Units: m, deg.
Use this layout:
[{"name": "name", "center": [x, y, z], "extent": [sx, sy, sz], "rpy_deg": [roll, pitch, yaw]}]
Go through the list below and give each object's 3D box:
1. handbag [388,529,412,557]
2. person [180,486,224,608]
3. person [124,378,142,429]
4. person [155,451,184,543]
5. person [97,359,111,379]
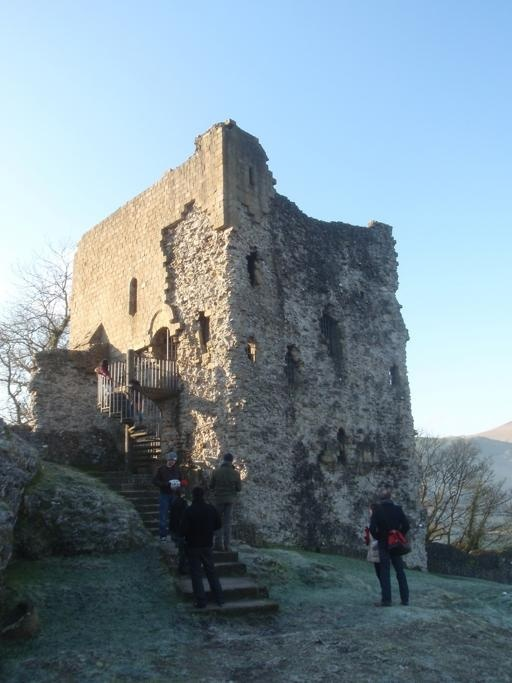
[{"name": "handbag", "center": [1.948, 2.735, 9.464], "extent": [0.211, 0.342, 0.349], "rpy_deg": [7, 0, 43]}, {"name": "person", "center": [-0.638, 2.602, 8.845], "extent": [0.645, 1.465, 0.778], "rpy_deg": [8, 0, -3]}, {"name": "person", "center": [-2.723, 1.405, 15.751], "extent": [0.405, 1.076, 0.882], "rpy_deg": [8, 0, -9]}, {"name": "person", "center": [-1.357, 2.548, 11.388], "extent": [0.507, 1.363, 0.477], "rpy_deg": [5, -12, -36]}, {"name": "person", "center": [-3.642, 0.679, 16.779], "extent": [0.298, 0.439, 1.793], "rpy_deg": [7, 0, -11]}]
